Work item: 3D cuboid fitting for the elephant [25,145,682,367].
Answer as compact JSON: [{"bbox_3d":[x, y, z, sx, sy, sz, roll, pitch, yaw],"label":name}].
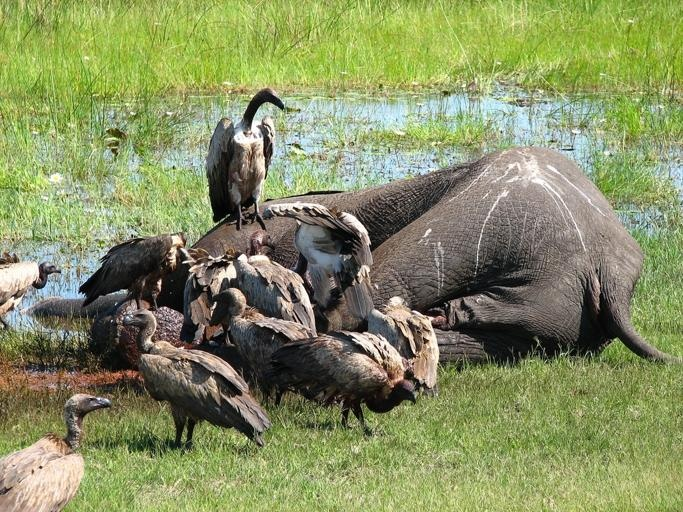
[{"bbox_3d":[0.316,0.267,13.989,5.779,2.254,2.299,-1,20,-1],"label":"elephant"}]
